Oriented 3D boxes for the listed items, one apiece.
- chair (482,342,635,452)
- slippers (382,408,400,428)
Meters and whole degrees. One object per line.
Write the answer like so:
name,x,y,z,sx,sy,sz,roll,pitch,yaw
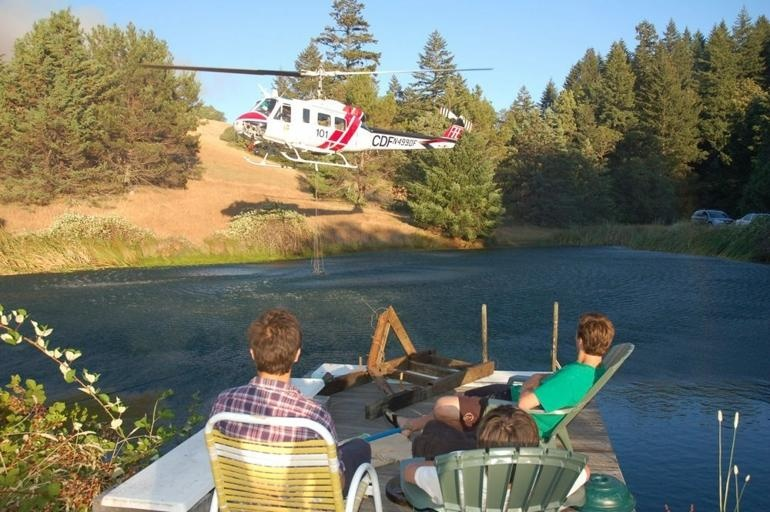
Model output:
chair,2.593,2.025,9.569,2.057,1.711,1.470,1,-1,9
slippers,0.116,2.556,10.180,0.105,0.359,0.148,-28,-21,3
